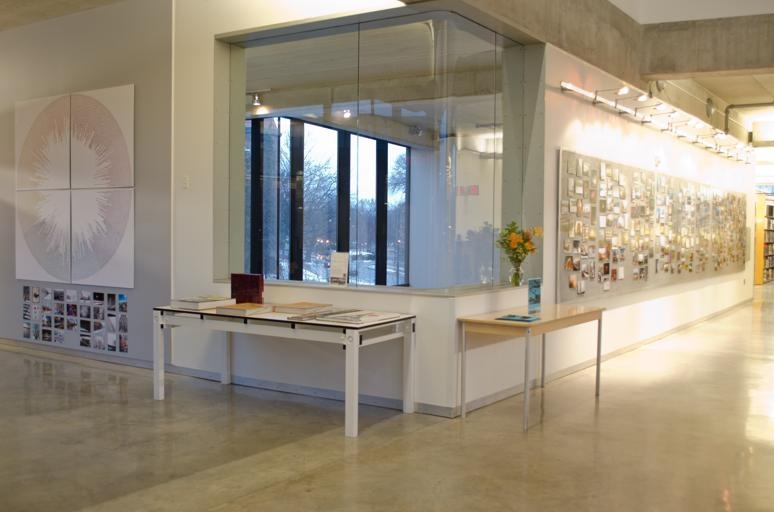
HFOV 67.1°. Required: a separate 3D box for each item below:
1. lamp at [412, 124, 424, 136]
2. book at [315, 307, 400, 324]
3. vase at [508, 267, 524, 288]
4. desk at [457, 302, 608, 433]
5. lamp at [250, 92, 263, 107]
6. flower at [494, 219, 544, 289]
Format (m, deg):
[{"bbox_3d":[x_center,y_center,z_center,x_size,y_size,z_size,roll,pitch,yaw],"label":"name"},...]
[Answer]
[{"bbox_3d":[0.328,-1.332,6.183,0.148,0.140,0.108,5,12,19],"label":"lamp"},{"bbox_3d":[-0.240,0.601,5.794,0.859,0.029,0.597,-5,8,-41],"label":"book"},{"bbox_3d":[1.490,0.242,6.725,0.192,0.310,0.222,-1,3,-6],"label":"vase"},{"bbox_3d":[1.549,0.740,6.156,1.020,1.305,2.129,2,4,42],"label":"desk"},{"bbox_3d":[-1.567,-1.913,7.143,0.150,0.164,0.150,-1,2,3],"label":"lamp"},{"bbox_3d":[1.470,-0.005,6.620,0.470,0.722,0.434,-1,6,-19],"label":"flower"}]
